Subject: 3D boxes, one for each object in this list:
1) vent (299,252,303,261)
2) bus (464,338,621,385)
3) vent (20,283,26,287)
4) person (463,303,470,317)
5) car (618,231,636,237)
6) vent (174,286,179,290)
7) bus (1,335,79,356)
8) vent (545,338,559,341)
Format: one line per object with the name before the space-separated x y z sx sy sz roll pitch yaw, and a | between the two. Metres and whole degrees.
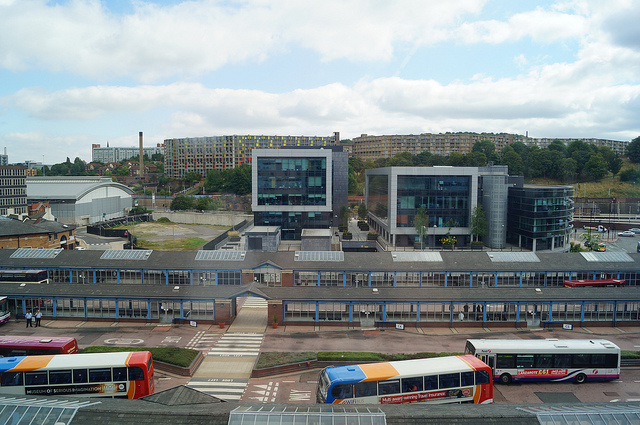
vent | -3.002 6.500 89.584 0.724 0.300 1.495 -7 36 8
bus | 21.973 16.275 68.344 21.192 4.640 5.643 0 3 -1
vent | -39.529 9.747 80.562 0.635 0.216 0.778 -3 14 -14
person | 18.987 12.810 78.906 0.809 1.642 0.428 -5 16 -16
car | 69.713 4.943 138.142 3.601 0.992 1.480 2 3 10
vent | -18.919 9.981 79.893 0.596 0.206 0.786 -4 14 -18
bus | -31.234 14.794 67.523 9.089 2.179 2.977 2 0 2
vent | 26.526 14.640 69.561 1.353 0.272 1.154 1 -2 10
